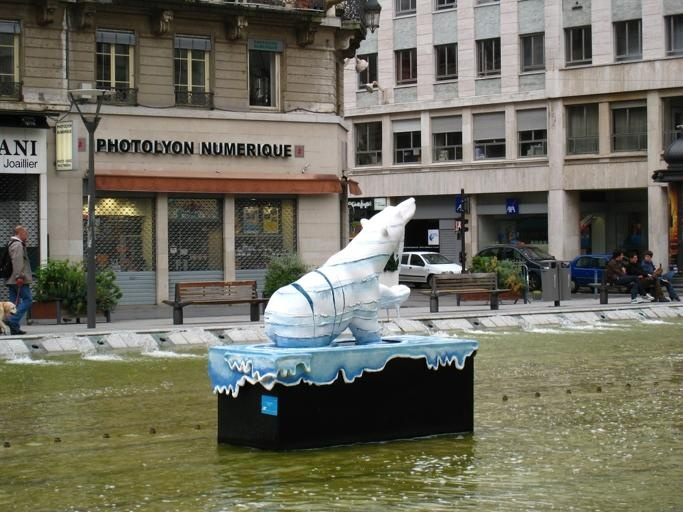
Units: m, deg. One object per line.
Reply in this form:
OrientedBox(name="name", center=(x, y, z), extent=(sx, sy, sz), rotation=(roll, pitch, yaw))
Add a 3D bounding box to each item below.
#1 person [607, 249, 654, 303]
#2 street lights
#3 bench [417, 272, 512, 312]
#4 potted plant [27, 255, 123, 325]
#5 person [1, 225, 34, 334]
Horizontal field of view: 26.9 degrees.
OrientedBox(name="person", center=(8.015, 0.581, 39.462), extent=(1.164, 1.460, 0.692), rotation=(-2, 1, 26))
OrientedBox(name="street lights", center=(-6.309, -1.326, 35.788), extent=(0.873, 6.049, 0.721), rotation=(-3, 4, -41))
OrientedBox(name="bench", center=(3.207, 0.944, 35.636), extent=(2.089, 0.865, 1.145), rotation=(-2, 3, -15))
OrientedBox(name="potted plant", center=(-6.077, 0.734, 32.202), extent=(1.756, 1.293, 1.418), rotation=(2, 1, -32))
OrientedBox(name="person", center=(-6.634, 0.505, 29.181), extent=(0.645, 2.022, 0.553), rotation=(9, 8, 31))
